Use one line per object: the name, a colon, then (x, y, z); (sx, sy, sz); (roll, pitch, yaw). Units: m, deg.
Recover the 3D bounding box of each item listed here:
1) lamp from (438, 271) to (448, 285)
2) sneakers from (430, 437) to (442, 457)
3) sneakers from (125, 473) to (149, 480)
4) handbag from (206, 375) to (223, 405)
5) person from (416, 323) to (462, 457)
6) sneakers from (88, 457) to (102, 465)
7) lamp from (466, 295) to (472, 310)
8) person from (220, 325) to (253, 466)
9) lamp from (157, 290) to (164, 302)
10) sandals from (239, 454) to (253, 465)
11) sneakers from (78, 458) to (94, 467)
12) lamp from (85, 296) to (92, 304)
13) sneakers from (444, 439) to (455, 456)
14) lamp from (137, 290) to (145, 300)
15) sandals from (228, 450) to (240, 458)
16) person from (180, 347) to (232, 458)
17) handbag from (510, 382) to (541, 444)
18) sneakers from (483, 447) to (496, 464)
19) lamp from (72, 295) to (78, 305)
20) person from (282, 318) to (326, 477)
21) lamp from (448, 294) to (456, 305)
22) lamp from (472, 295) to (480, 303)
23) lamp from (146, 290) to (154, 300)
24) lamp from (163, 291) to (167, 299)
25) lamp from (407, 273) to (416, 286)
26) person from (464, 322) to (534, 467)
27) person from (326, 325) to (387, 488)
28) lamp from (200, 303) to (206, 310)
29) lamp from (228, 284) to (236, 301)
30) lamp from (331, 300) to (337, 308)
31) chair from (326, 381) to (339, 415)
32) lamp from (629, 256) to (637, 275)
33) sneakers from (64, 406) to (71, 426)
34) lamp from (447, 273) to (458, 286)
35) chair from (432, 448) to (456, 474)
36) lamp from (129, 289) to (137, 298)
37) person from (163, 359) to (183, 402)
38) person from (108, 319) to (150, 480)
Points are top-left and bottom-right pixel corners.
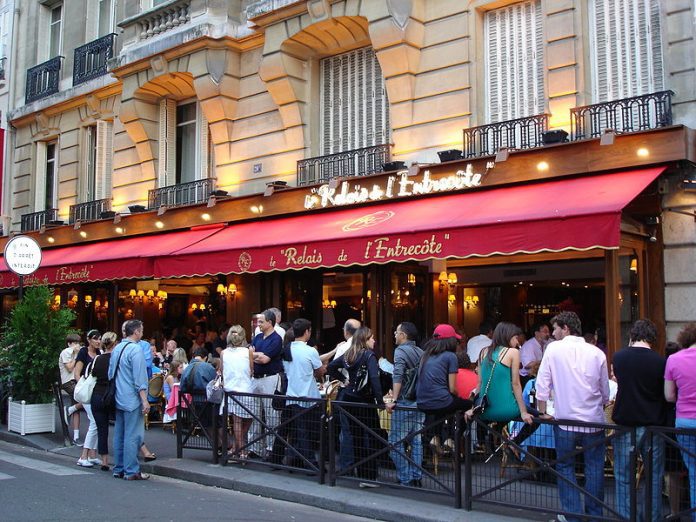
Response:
lamp: (1.853, 0.345, 16.878); (0.220, 0.308, 0.217); (-6, 8, -37)
sneakers: (1.167, 2.468, 11.461); (0.104, 0.277, 0.111); (-7, 1, 26)
sneakers: (-3.087, 3.180, 12.760); (0.282, 0.124, 0.129); (-2, -1, -13)
handbag: (-2.062, 2.037, 13.550); (0.138, 0.400, 0.384); (7, -8, -27)
person: (1.229, 1.550, 11.793); (0.597, 1.339, 0.334); (-2, -6, 2)
sneakers: (-3.920, 3.155, 13.611); (0.236, 0.104, 0.084); (15, -2, -44)
lamp: (2.439, 0.842, 17.463); (0.144, 0.244, 0.047); (0, -7, -15)
person: (-1.675, 2.034, 13.239); (0.476, 2.056, 0.758); (-1, -6, -9)
lamp: (-4.754, 0.920, 22.320); (0.273, 0.260, 0.187); (1, -4, -2)
sandals: (-1.548, 3.054, 13.154); (0.178, 0.178, 0.043); (5, 16, 18)
sneakers: (-4.062, 3.143, 13.510); (0.225, 0.095, 0.107); (2, 1, 23)
lamp: (-6.959, 1.068, 23.415); (0.186, 0.284, 0.194); (5, -7, -33)
sneakers: (1.326, 2.451, 11.399); (0.129, 0.179, 0.175); (-3, -6, 7)
lamp: (-5.180, 0.872, 21.896); (0.147, 0.160, 0.163); (1, 9, 11)
sandals: (-1.736, 2.962, 13.221); (0.098, 0.148, 0.034); (1, 0, 0)
person: (-2.267, 2.124, 14.463); (0.554, 1.438, 0.590); (5, 26, 32)
handbag: (2.623, 2.044, 12.550); (0.337, 0.986, 0.305); (0, -3, 16)
sneakers: (1.846, 2.575, 11.312); (0.136, 0.119, 0.121); (-3, -7, 9)
lamp: (-7.412, 1.107, 23.730); (0.195, 0.311, 0.195); (-1, -2, -11)
person: (-0.646, 1.936, 12.719); (0.579, 2.150, 0.925); (-1, -6, -4)
lamp: (2.070, 0.783, 17.261); (0.176, 0.192, 0.149); (-3, 3, 3)
lamp: (2.574, 0.800, 17.501); (0.130, 0.138, 0.133); (-1, 2, 24)
lamp: (-4.980, 0.849, 22.048); (0.170, 0.243, 0.176); (2, -3, 22)
lamp: (-4.686, 0.912, 22.400); (0.122, 0.171, 0.141); (5, 7, 0)
lamp: (1.264, 0.375, 17.253); (0.184, 0.213, 0.183); (4, -4, -34)
person: (2.149, 1.726, 11.811); (0.983, 1.806, 1.098); (3, 0, 42)
person: (0.140, 2.061, 12.243); (0.696, 2.237, 1.133); (0, -7, -11)
lamp: (-3.796, 1.226, 22.833); (0.171, 0.180, 0.133); (-1, 2, -25)
lamp: (-2.622, 0.696, 19.782); (0.244, 0.327, 0.107); (-8, -9, 43)
lamp: (-0.283, 0.931, 18.461); (0.122, 0.234, 0.125); (3, -8, -1)
chair: (-0.196, 2.116, 13.899); (0.254, 0.353, 0.260); (0, -6, 10)
lamp: (4.688, 0.079, 14.275); (0.192, 0.302, 0.199); (-1, 3, 15)
sneakers: (-4.951, 2.792, 15.471); (0.147, 0.385, 0.127); (-3, 7, -13)
lamp: (2.051, 0.380, 17.107); (0.216, 0.226, 0.220); (-1, 4, -17)
chair: (1.282, 2.674, 11.538); (0.265, 0.321, 0.492); (-1, -4, 17)
lamp: (-5.416, 0.859, 21.939); (0.178, 0.182, 0.178); (-2, 4, -31)
person: (-3.168, 2.194, 15.866); (0.348, 0.767, 0.525); (0, -7, -16)
person: (-3.220, 2.112, 13.148); (0.882, 2.426, 0.710); (-8, -11, 37)
